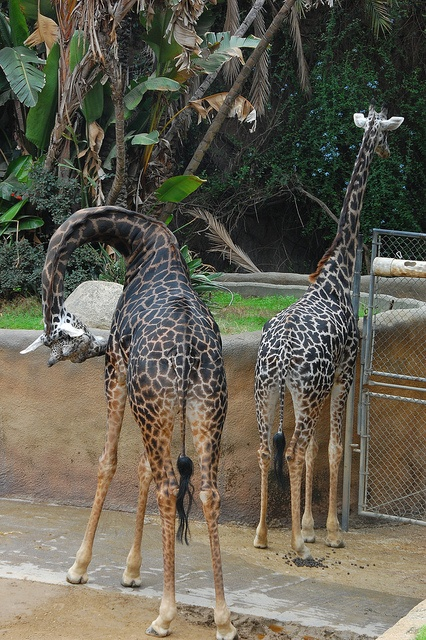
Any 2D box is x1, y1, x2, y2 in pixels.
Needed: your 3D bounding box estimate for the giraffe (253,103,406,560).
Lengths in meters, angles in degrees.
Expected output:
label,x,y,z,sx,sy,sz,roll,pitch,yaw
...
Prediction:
label,x,y,z,sx,sy,sz,roll,pitch,yaw
giraffe,0.759,-0.052,5.749,0.680,2.651,1.287,3,-1,26
